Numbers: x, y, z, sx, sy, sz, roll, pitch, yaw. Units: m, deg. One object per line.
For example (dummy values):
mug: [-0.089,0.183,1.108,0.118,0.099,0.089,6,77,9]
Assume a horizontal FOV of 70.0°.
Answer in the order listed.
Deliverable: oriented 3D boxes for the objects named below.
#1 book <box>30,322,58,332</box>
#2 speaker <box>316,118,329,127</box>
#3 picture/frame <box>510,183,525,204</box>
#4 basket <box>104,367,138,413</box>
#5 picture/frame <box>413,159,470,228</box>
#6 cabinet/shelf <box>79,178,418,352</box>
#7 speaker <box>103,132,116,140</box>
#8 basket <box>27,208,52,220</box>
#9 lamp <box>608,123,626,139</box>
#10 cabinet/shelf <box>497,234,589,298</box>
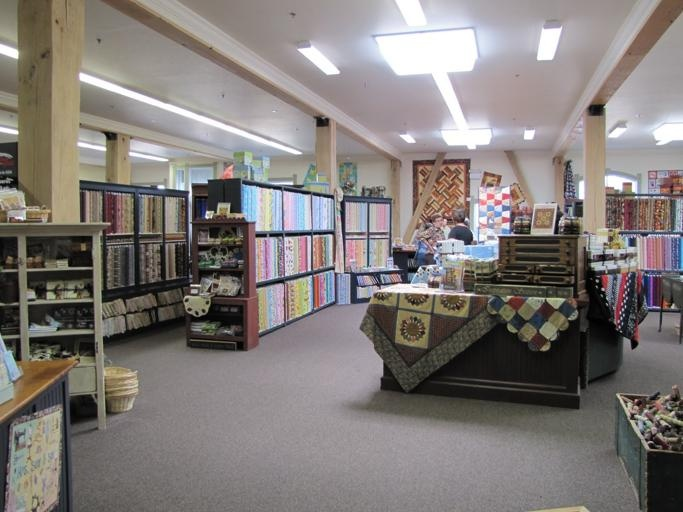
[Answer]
book: [-2.644,0.627,4.286,0.222,0.054,0.153,0,7,5]
speaker: [-0.402,-2.745,9.969,0.262,0.196,0.151,8,18,26]
picture/frame: [2.541,-0.907,7.089,0.189,0.305,0.304,2,7,19]
basket: [-2.186,1.288,4.762,0.332,0.379,0.402,0,-6,-5]
picture/frame: [3.106,-1.934,14.931,2.317,2.939,0.111,2,-3,13]
cabinet/shelf: [-1.084,-0.126,8.963,2.406,2.431,6.215,4,8,31]
speaker: [-5.563,-2.877,11.689,0.196,0.074,0.208,-3,-2,15]
basket: [-2.581,-0.346,4.153,0.100,0.061,0.121,1,-3,-5]
lamp: [6.797,-3.088,12.059,0.356,0.102,0.397,-4,-4,27]
cabinet/shelf: [2.004,0.010,4.959,0.726,0.748,0.608,0,-2,23]
